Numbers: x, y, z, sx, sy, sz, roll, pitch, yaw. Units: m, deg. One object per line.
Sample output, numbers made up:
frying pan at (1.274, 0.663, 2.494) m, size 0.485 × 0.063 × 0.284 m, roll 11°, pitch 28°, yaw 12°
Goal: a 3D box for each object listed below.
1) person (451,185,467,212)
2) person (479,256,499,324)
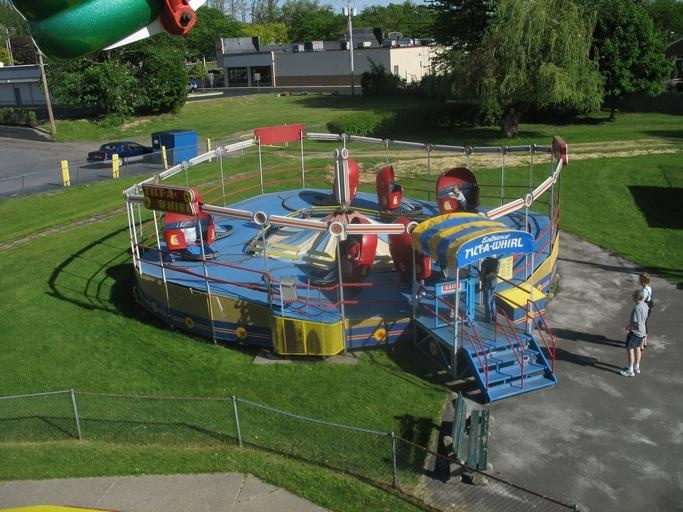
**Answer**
person at (5.528, -2.710, 29.680) m, size 0.756 × 1.073 × 0.899 m, roll 3°, pitch 19°, yaw 9°
person at (5.019, 1.107, 21.422) m, size 0.529 × 2.312 × 0.777 m, roll -1°, pitch 20°, yaw -1°
